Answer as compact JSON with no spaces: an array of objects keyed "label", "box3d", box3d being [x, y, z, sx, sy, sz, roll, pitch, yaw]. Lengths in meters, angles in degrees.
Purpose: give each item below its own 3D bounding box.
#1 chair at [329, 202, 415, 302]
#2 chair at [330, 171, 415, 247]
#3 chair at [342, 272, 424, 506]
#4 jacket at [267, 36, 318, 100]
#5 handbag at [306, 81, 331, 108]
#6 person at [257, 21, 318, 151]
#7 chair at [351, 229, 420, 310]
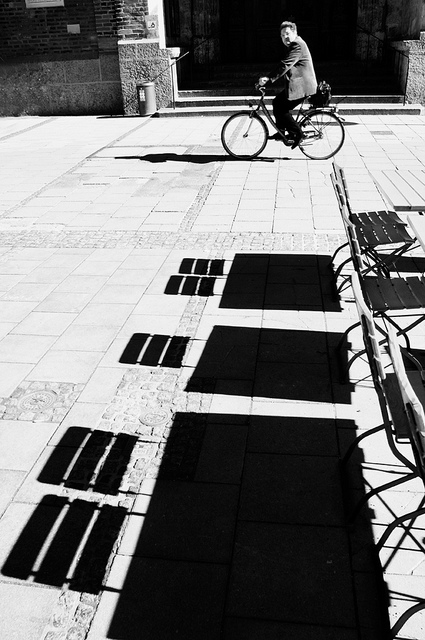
[{"label":"chair","box3d":[1.326,-0.549,3.836,0.511,0.861,0.642,-5,47,3]},{"label":"chair","box3d":[1.269,-0.723,3.742,0.513,0.547,0.751,-8,36,5]},{"label":"chair","box3d":[0.841,0.350,2.306,0.401,0.913,0.543,-8,36,8]},{"label":"jacket","box3d":[1.423,-4.459,7.966,0.620,1.185,0.781,4,31,20]},{"label":"handbag","box3d":[1.944,-4.049,8.418,0.435,0.550,0.324,-10,14,-32]},{"label":"person","box3d":[1.326,-3.975,7.957,0.631,2.072,1.116,15,28,39]},{"label":"chair","box3d":[1.242,-0.373,3.353,0.338,0.598,0.400,-6,54,10]}]
